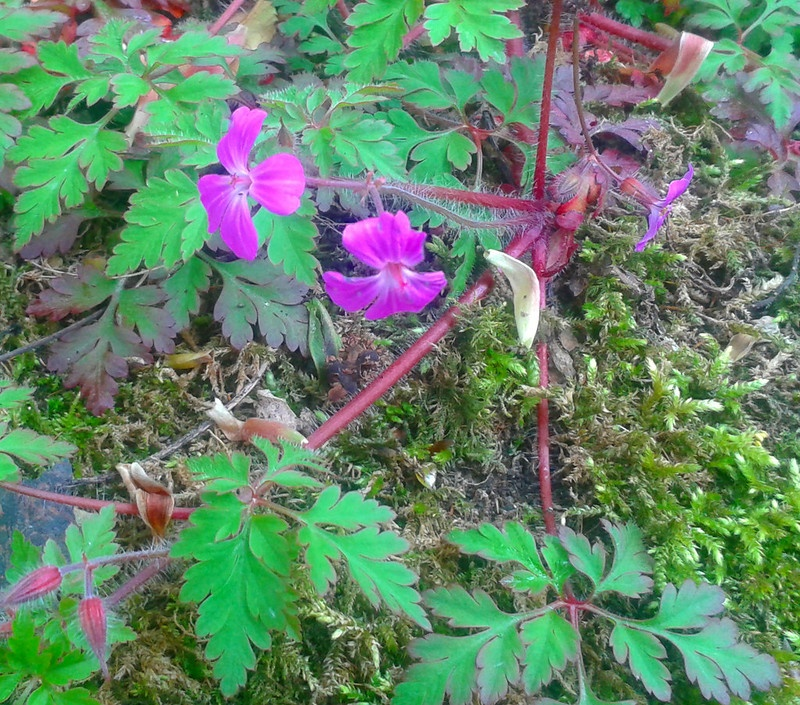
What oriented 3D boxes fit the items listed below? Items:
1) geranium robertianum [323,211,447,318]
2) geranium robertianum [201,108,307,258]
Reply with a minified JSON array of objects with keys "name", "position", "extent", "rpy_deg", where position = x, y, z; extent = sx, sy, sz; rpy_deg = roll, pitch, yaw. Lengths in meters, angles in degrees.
[{"name":"geranium robertianum","position":[0.000,-0.302,2.634],"extent":[0.293,0.307,0.136],"rpy_deg":[18,64,-45]},{"name":"geranium robertianum","position":[-0.508,-0.534,2.468],"extent":[0.259,0.347,0.370],"rpy_deg":[-22,61,-30]}]
